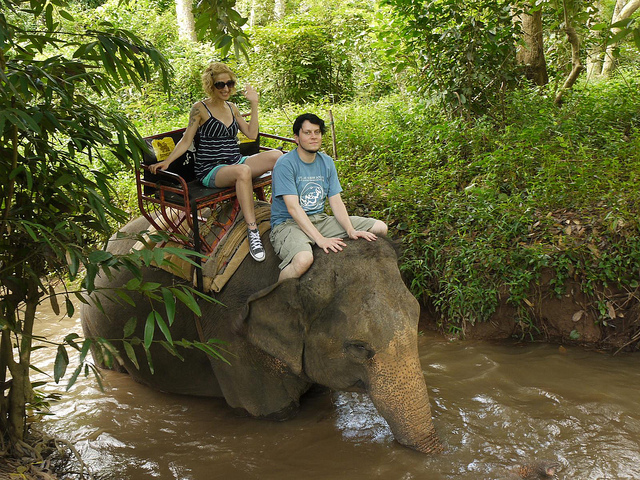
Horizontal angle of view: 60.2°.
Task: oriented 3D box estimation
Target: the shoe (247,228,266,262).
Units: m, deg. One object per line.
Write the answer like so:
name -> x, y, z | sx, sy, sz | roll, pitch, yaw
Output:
shoe -> -0.428, 0.030, 3.653 | 0.088, 0.095, 0.241 | -11, 44, -11

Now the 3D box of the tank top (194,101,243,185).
tank top -> -0.745, -0.698, 3.970 | 0.338, 0.550, 0.226 | -6, 17, -15

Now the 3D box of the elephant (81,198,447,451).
elephant -> -0.509, 0.608, 3.887 | 2.880, 1.459, 1.284 | 14, 22, 22

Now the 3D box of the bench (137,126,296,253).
bench -> -0.721, -0.320, 3.753 | 0.355, 0.532, 0.830 | 16, 31, 27
